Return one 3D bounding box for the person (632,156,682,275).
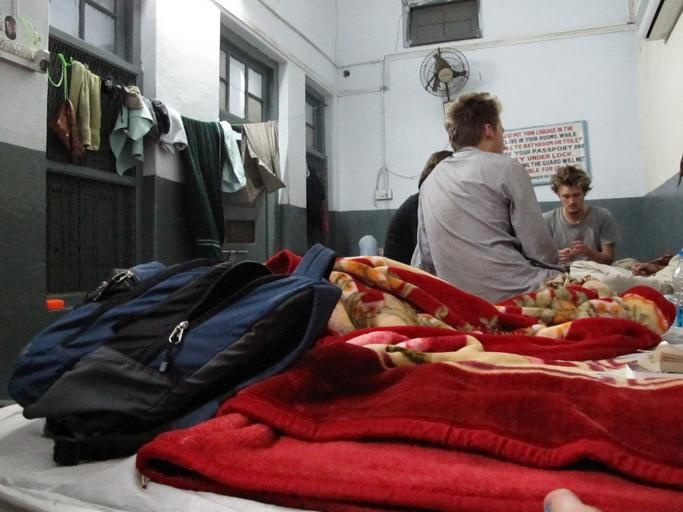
[{"bbox_3d":[2.253,-0.308,3.654,0.304,0.823,1.023,0,4,30],"label":"person"}]

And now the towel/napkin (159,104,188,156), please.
[{"bbox_3d":[-1.210,-0.907,3.741,0.140,0.312,0.253,-1,4,23],"label":"towel/napkin"}]

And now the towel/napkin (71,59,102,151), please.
[{"bbox_3d":[-1.541,-0.910,3.141,0.096,0.521,0.244,-1,4,19],"label":"towel/napkin"}]

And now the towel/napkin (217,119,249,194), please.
[{"bbox_3d":[-0.879,-0.808,4.234,0.169,0.504,0.383,-5,8,-28],"label":"towel/napkin"}]

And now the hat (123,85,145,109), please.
[{"bbox_3d":[-1.363,-1.039,3.388,0.103,0.150,0.090,-3,4,-14],"label":"hat"}]

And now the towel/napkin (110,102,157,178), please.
[{"bbox_3d":[-1.382,-0.853,3.461,0.234,0.605,0.169,3,-36,-21],"label":"towel/napkin"}]

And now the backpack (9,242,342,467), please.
[{"bbox_3d":[-0.390,0.321,1.367,0.698,0.254,0.546,-35,12,-24],"label":"backpack"}]

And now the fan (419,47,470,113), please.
[{"bbox_3d":[1.370,-2.055,6.404,0.521,0.654,0.482,4,-14,29],"label":"fan"}]

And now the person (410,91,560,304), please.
[{"bbox_3d":[0.744,-0.261,2.588,0.808,1.040,0.683,0,-5,2],"label":"person"}]
